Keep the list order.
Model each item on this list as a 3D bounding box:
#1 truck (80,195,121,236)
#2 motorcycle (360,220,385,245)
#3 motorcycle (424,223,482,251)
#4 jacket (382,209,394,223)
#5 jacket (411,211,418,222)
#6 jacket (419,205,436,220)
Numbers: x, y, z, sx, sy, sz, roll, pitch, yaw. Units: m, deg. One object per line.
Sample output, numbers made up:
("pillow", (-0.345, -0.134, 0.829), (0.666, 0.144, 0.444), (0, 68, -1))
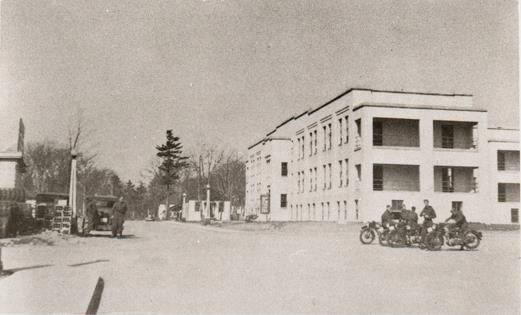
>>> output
("truck", (-9.864, 3.454, 36.511), (2.003, 1.765, 3.404), (10, 1, -17))
("motorcycle", (6.251, 4.282, 32.868), (1.787, 1.039, 0.987), (1, -4, -21))
("motorcycle", (9.828, 3.822, 30.467), (2.923, 1.561, 1.758), (4, -38, 15))
("jacket", (7.087, 3.256, 32.245), (0.525, 0.914, 0.732), (-3, 2, -38))
("jacket", (8.288, 3.212, 31.119), (0.338, 0.533, 0.494), (3, 5, 14))
("jacket", (8.957, 2.943, 30.785), (1.101, 0.830, 0.634), (3, -10, 2))
